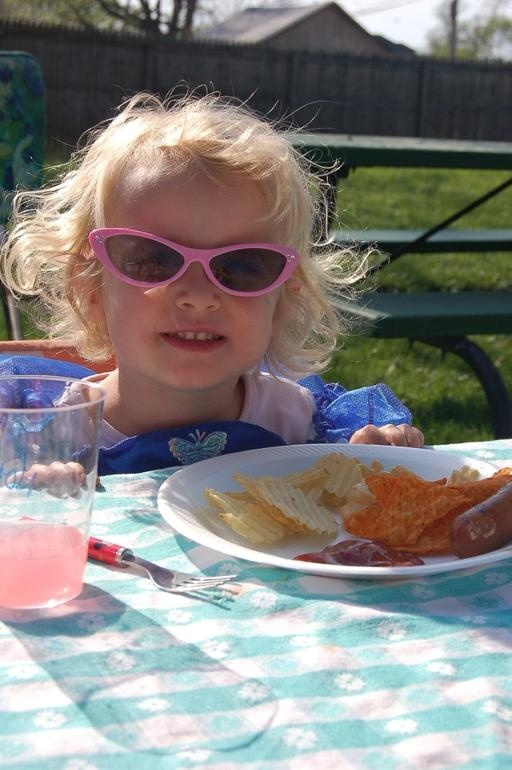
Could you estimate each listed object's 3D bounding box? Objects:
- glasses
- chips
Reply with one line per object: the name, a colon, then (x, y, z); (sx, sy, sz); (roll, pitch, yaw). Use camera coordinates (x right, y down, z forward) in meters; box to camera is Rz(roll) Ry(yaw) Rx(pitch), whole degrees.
glasses: (-0.097, -0.206, 1.271); (0.363, 0.112, 0.103); (0, 13, -11)
chips: (0.121, 0.123, 0.945); (0.308, 0.095, 0.245); (-1, 1, -34)
